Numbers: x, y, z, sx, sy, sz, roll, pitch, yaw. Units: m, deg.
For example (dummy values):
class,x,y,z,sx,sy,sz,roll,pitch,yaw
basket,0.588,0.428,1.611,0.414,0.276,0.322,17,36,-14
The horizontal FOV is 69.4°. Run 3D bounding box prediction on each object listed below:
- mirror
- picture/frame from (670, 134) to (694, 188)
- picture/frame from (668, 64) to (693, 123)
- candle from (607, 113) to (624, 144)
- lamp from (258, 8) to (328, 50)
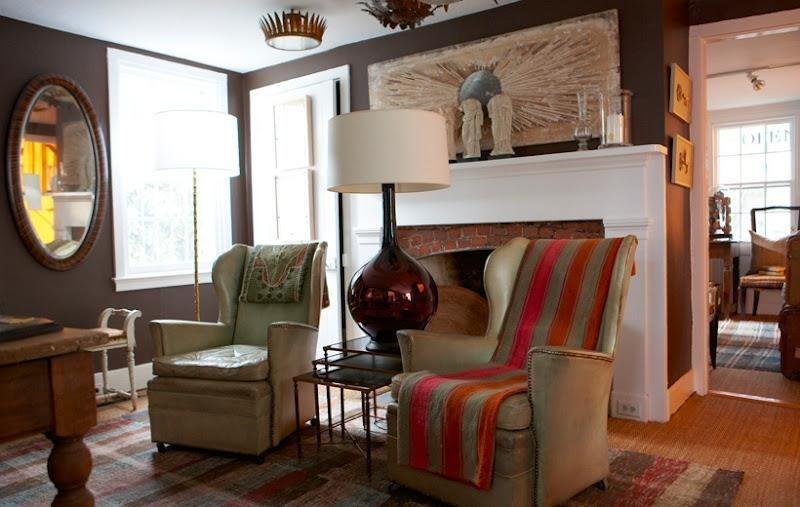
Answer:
class,x,y,z,sx,sy,sz,roll,pitch,yaw
mirror,-2.951,-0.694,4.990,0.176,1.653,0.747,2,7,38
picture/frame,2.206,-0.720,4.538,0.047,0.341,0.483,-3,1,37
picture/frame,2.200,-1.257,4.543,0.057,0.373,0.545,1,11,36
candle,1.618,-0.928,4.338,0.126,0.229,0.075,-1,5,11
lamp,-0.869,-1.857,4.858,0.358,0.112,0.364,-5,-6,43
